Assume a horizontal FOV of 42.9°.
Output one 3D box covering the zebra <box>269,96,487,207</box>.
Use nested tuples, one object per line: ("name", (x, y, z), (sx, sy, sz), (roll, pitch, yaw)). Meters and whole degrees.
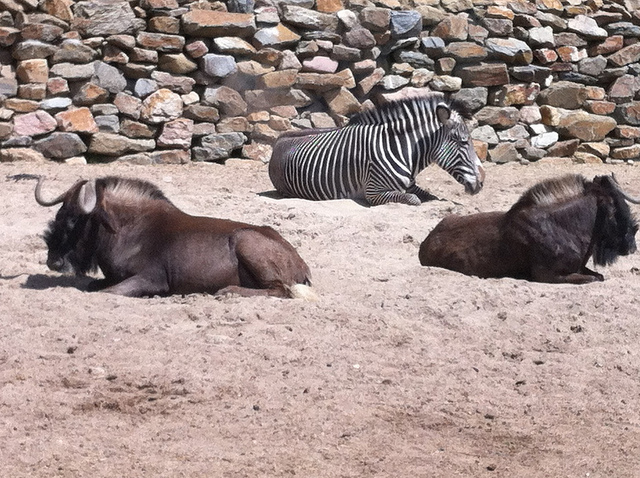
("zebra", (0.715, -1.105, 10.239), (2.629, 1.317, 1.114), (5, 28, 6))
